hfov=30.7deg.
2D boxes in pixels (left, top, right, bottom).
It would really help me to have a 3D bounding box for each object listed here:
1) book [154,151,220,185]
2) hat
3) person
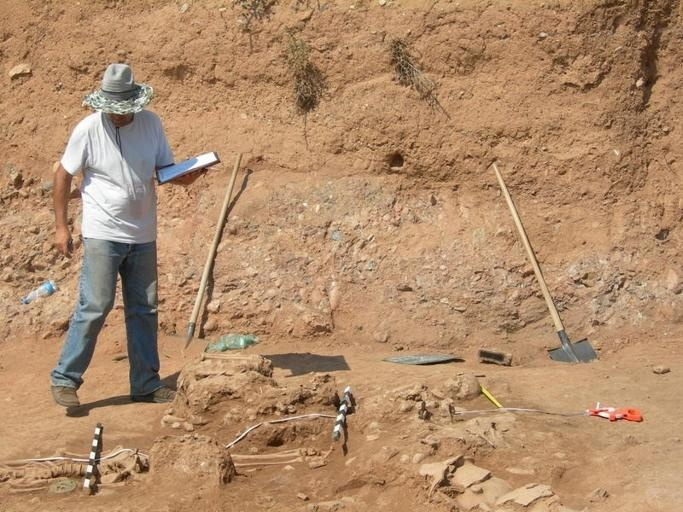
[{"bbox_3d":[-1.407,-0.809,11.582,0.623,0.282,0.820,-10,15,-40],"label":"book"},{"bbox_3d":[-2.041,-1.583,11.341,0.691,0.285,0.760,18,31,30],"label":"hat"},{"bbox_3d":[-2.051,-0.163,11.526,1.280,3.179,0.983,-1,21,-17],"label":"person"}]
